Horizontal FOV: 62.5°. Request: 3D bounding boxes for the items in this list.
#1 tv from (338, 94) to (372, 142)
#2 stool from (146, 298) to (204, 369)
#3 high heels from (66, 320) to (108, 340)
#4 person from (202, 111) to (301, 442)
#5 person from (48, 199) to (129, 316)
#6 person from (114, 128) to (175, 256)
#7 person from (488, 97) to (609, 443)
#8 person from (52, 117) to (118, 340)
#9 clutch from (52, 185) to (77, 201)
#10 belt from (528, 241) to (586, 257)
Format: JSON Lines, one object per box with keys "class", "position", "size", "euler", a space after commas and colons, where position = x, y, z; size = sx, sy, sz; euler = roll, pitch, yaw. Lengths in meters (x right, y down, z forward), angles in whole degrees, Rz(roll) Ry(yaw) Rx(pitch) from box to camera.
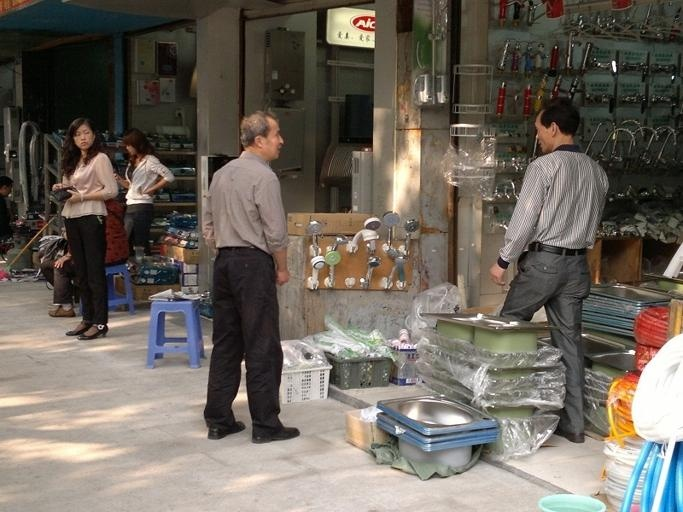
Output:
{"class": "tv", "position": [0.245, -2.217, 9.117], "size": [0.532, 0.776, 0.249], "euler": [1, 7, 4]}
{"class": "stool", "position": [-1.641, 0.731, 5.559], "size": [0.612, 0.663, 0.613], "euler": [1, 1, -2]}
{"class": "high heels", "position": [-2.788, 0.821, 6.224], "size": [0.314, 0.115, 0.231], "euler": [3, 0, -27]}
{"class": "person", "position": [-0.604, 0.138, 3.680], "size": [0.645, 2.145, 0.345], "euler": [1, 7, 4]}
{"class": "person", "position": [-3.195, 0.071, 7.049], "size": [0.828, 1.738, 0.943], "euler": [-3, 14, -35]}
{"class": "person", "position": [-2.814, -0.671, 7.993], "size": [0.881, 2.195, 0.674], "euler": [4, 5, 16]}
{"class": "person", "position": [1.429, 0.033, 3.991], "size": [0.751, 2.149, 0.893], "euler": [0, 11, -8]}
{"class": "person", "position": [-2.781, -0.294, 6.069], "size": [0.733, 2.305, 0.628], "euler": [1, 2, 33]}
{"class": "clutch", "position": [-2.935, -0.657, 5.910], "size": [0.380, 0.141, 0.174], "euler": [4, 8, 26]}
{"class": "belt", "position": [1.459, -0.055, 3.750], "size": [0.389, 0.092, 0.144], "euler": [-1, 7, -10]}
